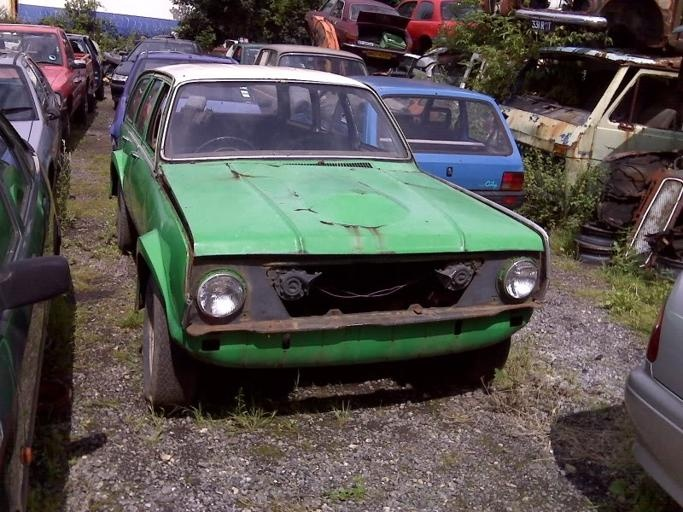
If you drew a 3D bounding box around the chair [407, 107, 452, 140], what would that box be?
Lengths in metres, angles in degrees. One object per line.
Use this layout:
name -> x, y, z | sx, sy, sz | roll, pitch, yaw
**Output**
chair -> 1.095, -1.594, 6.317 | 0.376, 0.309, 0.628 | 0, 35, -10
